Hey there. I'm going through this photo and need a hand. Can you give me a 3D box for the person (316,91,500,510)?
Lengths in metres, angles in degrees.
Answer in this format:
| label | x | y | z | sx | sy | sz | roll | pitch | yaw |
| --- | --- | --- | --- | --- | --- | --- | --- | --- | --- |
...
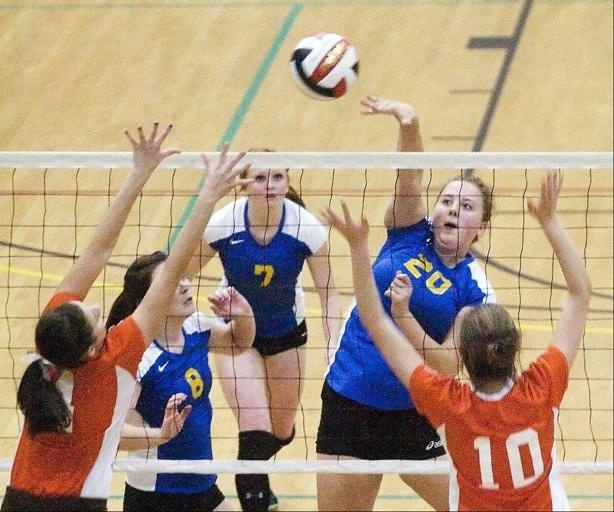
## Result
| label | x | y | z | sx | sy | sz | roll | pitch | yaw |
| --- | --- | --- | --- | --- | --- | --- | --- | --- | --- |
| person | 0.445 | 0.238 | 5.158 | 0.872 | 2.256 | 1.083 | 3 | 17 | -11 |
